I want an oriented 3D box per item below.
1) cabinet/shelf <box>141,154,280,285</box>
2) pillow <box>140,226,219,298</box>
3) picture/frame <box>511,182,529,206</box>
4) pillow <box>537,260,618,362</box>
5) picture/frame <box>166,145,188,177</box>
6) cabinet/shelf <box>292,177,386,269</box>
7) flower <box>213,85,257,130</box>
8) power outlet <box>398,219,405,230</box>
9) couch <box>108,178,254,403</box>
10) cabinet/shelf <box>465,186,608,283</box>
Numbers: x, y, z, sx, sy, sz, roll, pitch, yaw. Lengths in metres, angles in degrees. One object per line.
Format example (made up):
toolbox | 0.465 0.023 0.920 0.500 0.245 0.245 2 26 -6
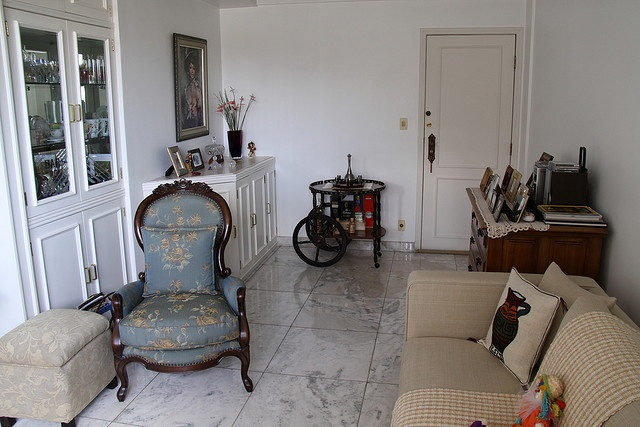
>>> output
cabinet/shelf | -1.077 0.046 4.101 0.433 0.865 1.321 2 12 13
pillow | -1.122 0.388 3.370 0.482 0.503 0.177 0 -6 0
picture/frame | 1.570 -0.154 3.312 0.043 0.155 0.111 15 2 -25
pillow | 1.463 0.625 2.564 0.135 0.478 0.466 29 13 -8
picture/frame | -1.547 -0.559 4.572 0.162 0.319 0.304 -1 16 7
cabinet/shelf | 0.255 0.053 5.555 1.211 1.206 0.904 1 7 7
flower | -1.129 -1.372 5.620 0.529 0.640 0.488 2 7 3
power outlet | 1.072 0.134 5.536 0.119 0.186 0.023 1 4 11
couch | -1.097 0.490 3.638 1.332 2.039 1.340 -1 10 -10
cabinet/shelf | 1.745 -0.103 3.445 0.521 0.909 0.935 3 16 9
